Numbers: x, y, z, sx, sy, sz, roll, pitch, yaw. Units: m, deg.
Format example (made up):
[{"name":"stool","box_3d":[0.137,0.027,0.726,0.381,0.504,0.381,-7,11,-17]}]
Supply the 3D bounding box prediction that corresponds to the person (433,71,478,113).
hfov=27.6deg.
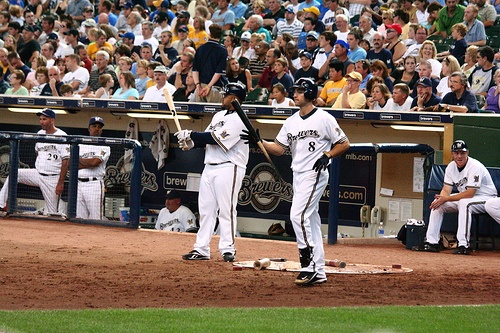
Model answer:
[{"name":"person","box_3d":[4.265,-1.484,21.083,1.116,0.968,0.884,-4,6,-43]}]

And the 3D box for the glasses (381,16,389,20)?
[{"name":"glasses","box_3d":[3.334,-3.687,25.056,0.115,0.125,0.040,9,18,29]}]

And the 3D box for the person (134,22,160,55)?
[{"name":"person","box_3d":[-2.609,-3.422,26.296,0.903,0.746,0.451,23,24,39]}]

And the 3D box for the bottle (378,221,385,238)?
[{"name":"bottle","box_3d":[2.838,1.332,21.942,0.132,0.332,0.139,3,-5,0]}]

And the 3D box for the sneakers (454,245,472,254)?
[{"name":"sneakers","box_3d":[4.147,1.644,20.007,0.351,0.183,0.131,4,-5,-2]}]

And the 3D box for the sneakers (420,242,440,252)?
[{"name":"sneakers","box_3d":[3.587,1.609,20.282,0.386,0.186,0.145,7,-2,5]}]

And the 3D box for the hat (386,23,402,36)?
[{"name":"hat","box_3d":[3.380,-3.246,23.787,0.343,0.188,0.223,21,12,-9]}]

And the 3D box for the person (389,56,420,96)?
[{"name":"person","box_3d":[3.386,-1.973,22.164,0.632,0.930,0.906,8,1,1]}]

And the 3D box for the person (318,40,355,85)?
[{"name":"person","box_3d":[1.980,-2.308,22.891,0.841,1.184,0.626,8,14,30]}]

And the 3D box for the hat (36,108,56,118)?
[{"name":"hat","box_3d":[-4.274,-1.157,21.736,0.286,0.171,0.200,25,-2,-25]}]

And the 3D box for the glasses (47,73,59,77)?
[{"name":"glasses","box_3d":[-4.517,-2.163,23.781,0.217,0.088,0.119,3,-5,-5]}]

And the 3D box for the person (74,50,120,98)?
[{"name":"person","box_3d":[-3.328,-2.213,24.398,1.033,1.372,1.011,10,10,39]}]

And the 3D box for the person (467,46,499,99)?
[{"name":"person","box_3d":[4.949,-1.997,21.779,0.667,1.297,0.983,1,10,-7]}]

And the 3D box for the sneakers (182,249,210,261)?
[{"name":"sneakers","box_3d":[-0.961,1.620,18.608,0.481,0.204,0.165,5,-5,-15]}]

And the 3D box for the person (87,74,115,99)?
[{"name":"person","box_3d":[-3.406,-1.876,23.703,0.562,0.686,1.007,3,-5,-8]}]

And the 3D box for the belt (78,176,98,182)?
[{"name":"belt","box_3d":[-3.342,0.259,21.352,0.393,0.121,0.048,4,-6,-18]}]

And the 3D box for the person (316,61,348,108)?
[{"name":"person","box_3d":[1.807,-1.766,22.309,0.711,1.137,0.640,2,0,30]}]

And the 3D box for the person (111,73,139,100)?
[{"name":"person","box_3d":[-2.806,-1.862,23.346,0.485,0.774,0.862,-2,11,-31]}]

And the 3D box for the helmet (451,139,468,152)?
[{"name":"helmet","box_3d":[4.126,-0.409,20.133,0.291,0.221,0.228,2,-5,11]}]

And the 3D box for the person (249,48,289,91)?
[{"name":"person","box_3d":[0.398,-2.263,23.274,0.635,0.836,0.672,-3,2,31]}]

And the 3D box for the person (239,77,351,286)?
[{"name":"person","box_3d":[1.008,0.236,17.535,1.334,3.575,0.531,2,-5,1]}]

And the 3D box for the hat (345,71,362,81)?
[{"name":"hat","box_3d":[2.234,-1.951,21.693,0.266,0.136,0.198,22,-9,-26]}]

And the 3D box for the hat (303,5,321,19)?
[{"name":"hat","box_3d":[1.588,-3.997,26.250,0.397,0.234,0.288,26,21,-2]}]

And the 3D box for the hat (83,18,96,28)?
[{"name":"hat","box_3d":[-4.246,-3.897,27.366,0.287,0.150,0.217,2,6,-16]}]

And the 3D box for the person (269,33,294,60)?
[{"name":"person","box_3d":[0.771,-2.838,24.014,0.486,0.870,0.336,18,44,9]}]

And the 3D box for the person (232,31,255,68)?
[{"name":"person","box_3d":[-0.078,-2.847,24.636,0.490,0.880,0.859,0,7,-4]}]

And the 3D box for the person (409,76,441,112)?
[{"name":"person","box_3d":[3.628,-1.514,21.329,0.692,0.708,0.609,-3,1,32]}]

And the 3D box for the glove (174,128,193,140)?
[{"name":"glove","box_3d":[-1.165,-0.593,18.581,0.199,0.055,0.198,-32,17,-19]}]

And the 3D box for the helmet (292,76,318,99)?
[{"name":"helmet","box_3d":[0.971,-1.366,17.674,0.388,0.337,0.304,-2,5,-10]}]

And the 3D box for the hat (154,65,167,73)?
[{"name":"hat","box_3d":[-1.997,-2.225,22.922,0.245,0.136,0.364,1,-3,4]}]

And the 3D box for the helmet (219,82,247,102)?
[{"name":"helmet","box_3d":[-0.271,-1.385,18.632,0.388,0.264,0.283,15,4,6]}]

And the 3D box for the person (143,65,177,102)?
[{"name":"person","box_3d":[-1.955,-1.811,22.919,0.958,0.963,0.501,1,0,15]}]

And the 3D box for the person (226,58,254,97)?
[{"name":"person","box_3d":[-0.215,-2.092,22.772,0.528,0.759,0.554,-2,0,-20]}]

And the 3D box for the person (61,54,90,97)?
[{"name":"person","box_3d":[-4.148,-2.151,24.540,0.757,1.239,0.610,4,12,32]}]

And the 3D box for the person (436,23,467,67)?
[{"name":"person","box_3d":[4.767,-2.798,23.248,0.589,0.950,0.635,-16,4,-37]}]

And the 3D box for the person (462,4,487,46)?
[{"name":"person","box_3d":[5.163,-3.279,23.407,0.513,1.018,0.560,2,-5,8]}]

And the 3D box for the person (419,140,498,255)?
[{"name":"person","box_3d":[4.151,0.619,20.175,1.336,2.246,0.529,1,-5,13]}]

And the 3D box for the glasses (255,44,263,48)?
[{"name":"glasses","box_3d":[0.233,-2.828,23.652,0.160,0.091,0.222,1,-1,-1]}]

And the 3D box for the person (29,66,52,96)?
[{"name":"person","box_3d":[-4.959,-2.057,24.408,0.441,0.738,0.722,6,11,10]}]

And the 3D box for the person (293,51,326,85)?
[{"name":"person","box_3d":[1.308,-2.181,23.075,0.600,0.865,0.501,6,2,15]}]

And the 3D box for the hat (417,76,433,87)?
[{"name":"hat","box_3d":[3.630,-1.794,21.269,0.311,0.253,0.335,2,-5,10]}]

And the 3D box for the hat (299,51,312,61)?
[{"name":"hat","box_3d":[1.300,-2.541,22.968,0.183,0.136,0.270,12,-17,26]}]

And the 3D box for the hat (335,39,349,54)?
[{"name":"hat","box_3d":[2.077,-2.725,22.693,0.284,0.156,0.224,5,1,-18]}]

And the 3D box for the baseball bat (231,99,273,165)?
[{"name":"baseball bat","box_3d":[0.058,-0.706,19.989,0.162,1.549,0.167,-26,6,21]}]
